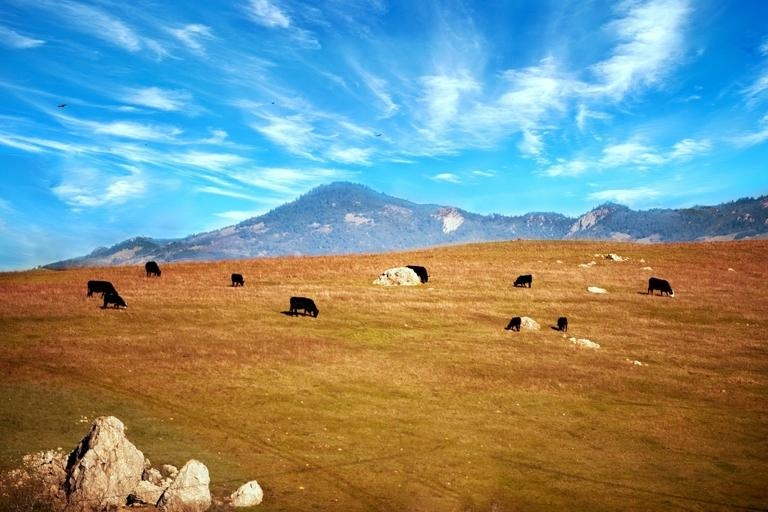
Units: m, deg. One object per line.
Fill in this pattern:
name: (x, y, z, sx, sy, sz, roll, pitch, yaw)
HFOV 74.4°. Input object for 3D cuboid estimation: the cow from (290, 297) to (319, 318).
cow: (-5.573, 3.527, 35.522, 1.915, 1.304, 1.802, -1, 5, 5)

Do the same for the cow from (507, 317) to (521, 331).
cow: (8.731, 4.625, 34.316, 0.963, 0.772, 1.535, 0, 5, 15)
